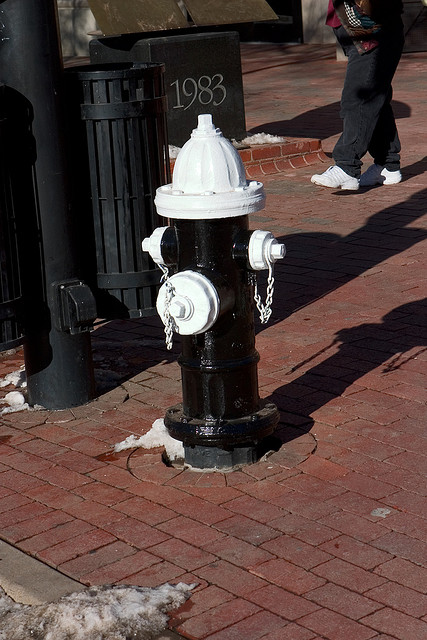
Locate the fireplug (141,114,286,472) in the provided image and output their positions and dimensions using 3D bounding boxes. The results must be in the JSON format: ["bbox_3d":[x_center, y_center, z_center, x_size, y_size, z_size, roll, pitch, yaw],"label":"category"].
[{"bbox_3d":[0.005,-0.067,2.751,0.494,1.358,0.487,-6,14,-5],"label":"fireplug"}]
